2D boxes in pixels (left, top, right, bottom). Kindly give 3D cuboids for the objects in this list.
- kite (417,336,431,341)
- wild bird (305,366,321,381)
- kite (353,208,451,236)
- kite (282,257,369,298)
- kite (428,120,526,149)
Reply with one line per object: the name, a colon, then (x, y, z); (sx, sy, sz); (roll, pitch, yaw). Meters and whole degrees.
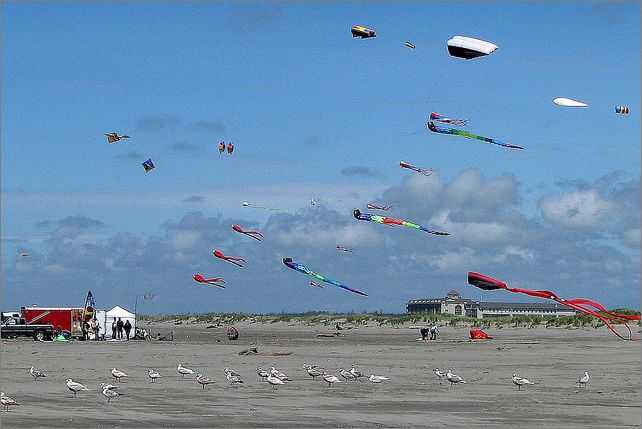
kite: (9.767, 12.045, 127.611); (1.732, 0.611, 0.533); (-3, -4, 8)
wild bird: (-0.469, 10.746, 89.394); (1.004, 0.473, 1.473); (23, 1, 31)
kite: (4.587, 0.419, 75.064); (6.174, 0.855, 1.200); (11, 15, 32)
kite: (0.183, 2.362, 49.090); (3.450, 0.998, 0.751); (24, -45, 3)
kite: (10.052, -5.102, 85.511); (6.768, 0.348, 1.802); (15, -17, -10)
